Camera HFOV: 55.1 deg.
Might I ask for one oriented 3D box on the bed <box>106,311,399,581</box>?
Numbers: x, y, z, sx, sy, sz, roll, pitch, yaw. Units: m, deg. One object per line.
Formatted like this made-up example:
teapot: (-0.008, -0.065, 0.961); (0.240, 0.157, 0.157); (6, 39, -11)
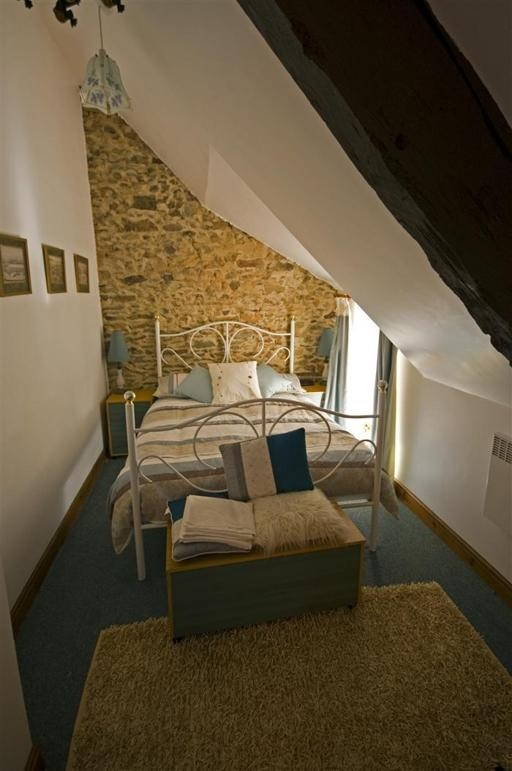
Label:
bed: (-0.183, 0.295, 3.473); (1.311, 1.056, 2.046); (-4, 17, -9)

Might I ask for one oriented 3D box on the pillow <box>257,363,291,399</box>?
pillow: (0.155, -0.045, 4.162); (0.252, 0.075, 0.269); (-24, 60, -29)
